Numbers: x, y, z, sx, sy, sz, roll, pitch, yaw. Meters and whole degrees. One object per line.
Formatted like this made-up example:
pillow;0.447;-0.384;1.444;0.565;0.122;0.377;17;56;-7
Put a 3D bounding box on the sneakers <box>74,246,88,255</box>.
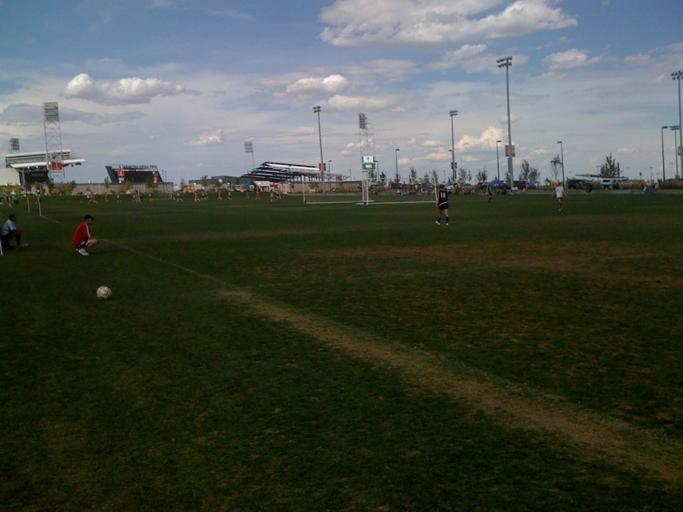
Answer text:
sneakers;-8.310;-0.176;20.400;0.669;0.264;0.247;2;8;41
